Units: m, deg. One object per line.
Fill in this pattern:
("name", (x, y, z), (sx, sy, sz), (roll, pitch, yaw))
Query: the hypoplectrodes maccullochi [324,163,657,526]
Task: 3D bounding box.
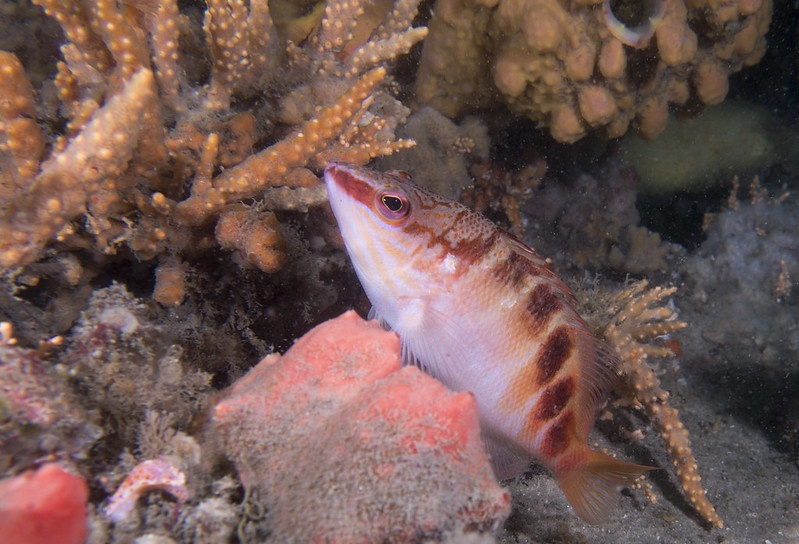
("hypoplectrodes maccullochi", (0.561, 0.504, 5.933), (1.564, 0.923, 3.173), (-43, 87, 5))
